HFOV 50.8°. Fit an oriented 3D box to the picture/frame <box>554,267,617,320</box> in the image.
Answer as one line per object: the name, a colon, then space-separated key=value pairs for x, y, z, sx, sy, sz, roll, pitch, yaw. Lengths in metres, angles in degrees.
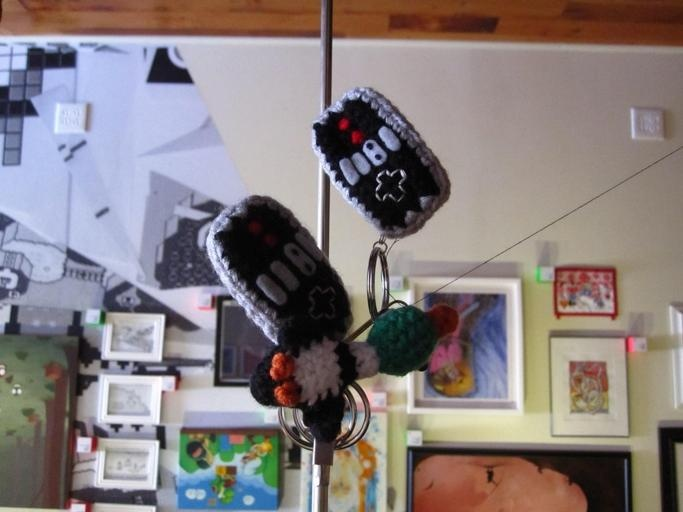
picture/frame: x=0.319 y=0.046 z=0.939 sx=0.079 sy=0.065 sz=0.027 roll=-1 pitch=14 yaw=18

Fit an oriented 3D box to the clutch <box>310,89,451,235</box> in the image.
clutch: x=0.065 y=-0.146 z=1.097 sx=0.153 sy=0.228 sz=0.064 roll=-42 pitch=-13 yaw=14

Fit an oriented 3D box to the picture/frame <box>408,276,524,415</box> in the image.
picture/frame: x=0.176 y=0.120 z=0.980 sx=0.163 sy=0.217 sz=0.014 roll=-3 pitch=-7 yaw=29

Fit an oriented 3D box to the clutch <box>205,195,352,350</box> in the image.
clutch: x=-0.096 y=0.016 z=1.028 sx=0.156 sy=0.244 sz=0.077 roll=-35 pitch=3 yaw=-15
